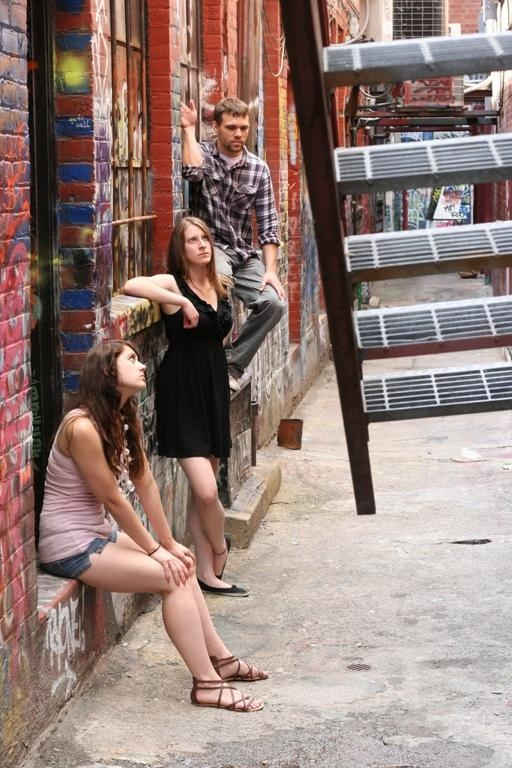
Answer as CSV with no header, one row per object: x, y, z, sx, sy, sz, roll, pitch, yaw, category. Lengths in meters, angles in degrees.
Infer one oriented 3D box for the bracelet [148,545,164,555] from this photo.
-0.400,0.664,2.771,0.033,0.013,0.029,-41,3,3,bracelet

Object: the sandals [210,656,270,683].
-0.076,1.236,3.098,0.275,0.122,0.098,1,5,-27,sandals

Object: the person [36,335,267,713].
-0.443,0.579,2.809,0.814,1.498,0.434,-1,3,-20,person

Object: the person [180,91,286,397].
-0.174,-0.938,4.803,0.709,1.946,0.971,8,17,27,person

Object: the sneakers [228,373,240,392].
-0.156,0.006,5.021,0.046,0.064,0.152,-2,-6,13,sneakers

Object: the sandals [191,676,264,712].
-0.112,1.252,2.854,0.275,0.134,0.123,0,2,7,sandals

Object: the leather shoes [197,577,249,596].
-0.186,1.245,4.262,0.352,0.161,0.115,0,-1,0,leather shoes
